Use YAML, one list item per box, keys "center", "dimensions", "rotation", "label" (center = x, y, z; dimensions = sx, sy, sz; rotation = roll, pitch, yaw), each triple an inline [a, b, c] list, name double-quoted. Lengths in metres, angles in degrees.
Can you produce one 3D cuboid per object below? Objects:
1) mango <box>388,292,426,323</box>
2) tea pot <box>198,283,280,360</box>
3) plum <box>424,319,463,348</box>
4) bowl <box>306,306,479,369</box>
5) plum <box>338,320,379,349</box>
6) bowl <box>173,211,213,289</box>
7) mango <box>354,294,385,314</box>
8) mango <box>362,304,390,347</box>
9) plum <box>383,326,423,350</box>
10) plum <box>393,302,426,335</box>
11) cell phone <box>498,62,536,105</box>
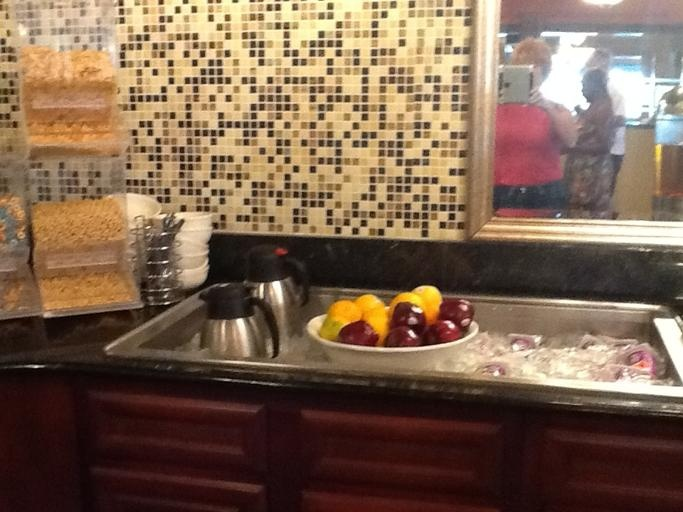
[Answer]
- center: [0.155, 0.127, 1.466]
  dimensions: [0.078, 0.059, 0.077]
  rotation: [-6, 22, -1]
  label: "mango"
- center: [-0.271, 0.146, 1.435]
  dimensions: [0.273, 0.170, 0.191]
  rotation: [2, 13, -22]
  label: "tea pot"
- center: [0.234, 0.173, 1.373]
  dimensions: [0.082, 0.060, 0.059]
  rotation: [-22, 31, 23]
  label: "plum"
- center: [0.097, 0.228, 1.369]
  dimensions: [0.415, 0.100, 0.299]
  rotation: [2, 10, 12]
  label: "bowl"
- center: [0.038, 0.180, 1.341]
  dimensions: [0.091, 0.054, 0.069]
  rotation: [-1, 13, 8]
  label: "plum"
- center: [-0.458, -0.023, 1.794]
  dimensions: [0.135, 0.207, 0.108]
  rotation: [14, 18, 40]
  label: "bowl"
- center: [0.067, 0.123, 1.515]
  dimensions: [0.054, 0.027, 0.056]
  rotation: [4, 5, 2]
  label: "mango"
- center: [0.075, 0.172, 1.452]
  dimensions: [0.094, 0.089, 0.082]
  rotation: [13, -25, 4]
  label: "mango"
- center: [0.138, 0.185, 1.318]
  dimensions: [0.059, 0.030, 0.063]
  rotation: [1, 14, 12]
  label: "plum"
- center: [0.155, 0.142, 1.379]
  dimensions: [0.092, 0.066, 0.043]
  rotation: [-1, 23, 19]
  label: "plum"
- center: [0.511, -0.506, 1.701]
  dimensions: [0.144, 0.106, 0.070]
  rotation: [4, 18, 12]
  label: "cell phone"
